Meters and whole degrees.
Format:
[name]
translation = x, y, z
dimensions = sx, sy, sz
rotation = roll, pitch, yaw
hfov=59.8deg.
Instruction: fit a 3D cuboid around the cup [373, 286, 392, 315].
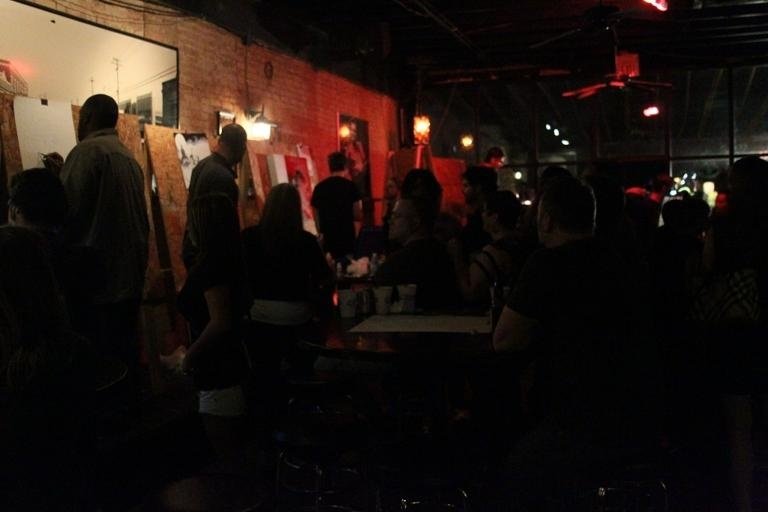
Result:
[cup]
translation = -0.009, 0.279, 4.263
dimensions = 0.157, 0.179, 0.160
rotation = -1, 5, 0
